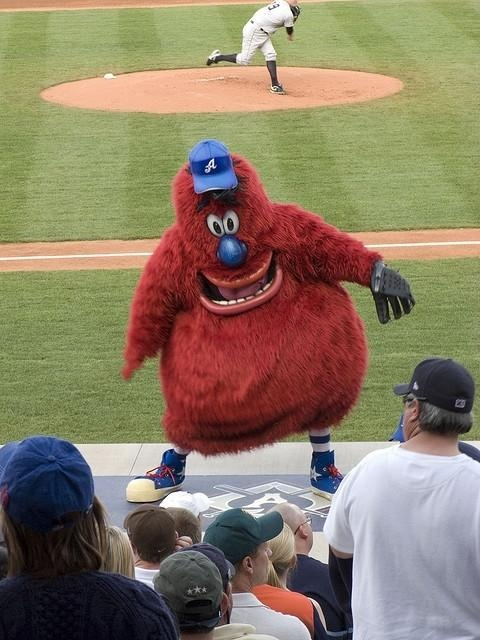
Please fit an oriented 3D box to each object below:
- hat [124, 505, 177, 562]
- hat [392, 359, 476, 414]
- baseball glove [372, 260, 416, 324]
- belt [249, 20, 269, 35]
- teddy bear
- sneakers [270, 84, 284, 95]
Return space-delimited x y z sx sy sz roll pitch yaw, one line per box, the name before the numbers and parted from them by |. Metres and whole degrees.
hat | -0.271 0.658 2.829 0.144 0.105 0.179 -14 42 -19
hat | 0.533 0.178 2.426 0.133 0.092 0.182 -2 14 -33
baseball glove | 0.740 -0.110 4.384 0.206 0.352 0.240 1 29 6
belt | 0.302 -4.464 13.760 0.213 0.131 0.271 26 2 12
teddy bear | 0.013 0.098 4.713 1.955 1.840 1.143 -6 2 -27
sneakers | 0.617 -3.709 14.645 0.115 0.097 0.244 -10 17 -24
